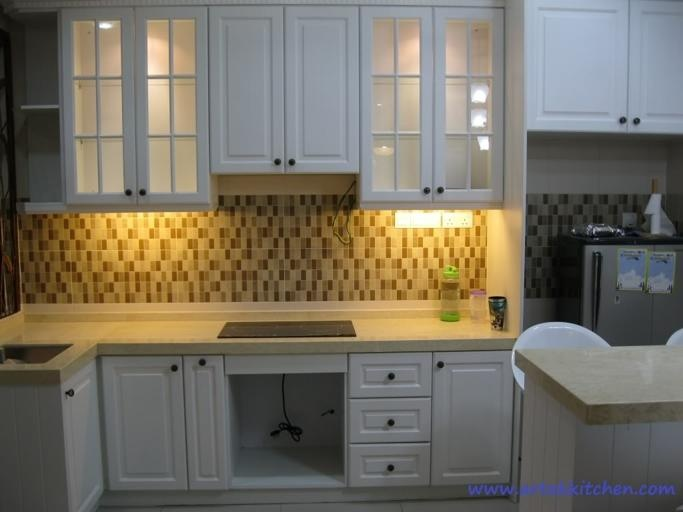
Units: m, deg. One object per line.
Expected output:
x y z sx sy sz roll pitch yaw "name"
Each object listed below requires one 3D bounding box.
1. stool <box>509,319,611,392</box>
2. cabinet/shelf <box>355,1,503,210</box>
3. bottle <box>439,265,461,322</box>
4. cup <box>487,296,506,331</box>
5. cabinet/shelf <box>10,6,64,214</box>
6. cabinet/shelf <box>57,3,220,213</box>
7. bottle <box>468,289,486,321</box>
1.001 0.399 3.145 0.379 0.487 0.372 -3 6 -1 "stool"
0.463 -0.886 3.710 1.054 1.545 0.622 0 1 -1 "cabinet/shelf"
0.647 0.227 3.961 0.117 0.335 0.114 -1 5 0 "bottle"
0.886 0.327 3.745 0.096 0.189 0.074 -3 5 -19 "cup"
-1.821 -0.856 3.893 0.261 1.065 0.125 -3 5 -26 "cabinet/shelf"
-1.140 -0.880 3.687 1.045 1.519 0.429 0 1 1 "cabinet/shelf"
0.801 0.293 3.882 0.088 0.167 0.067 0 5 8 "bottle"
